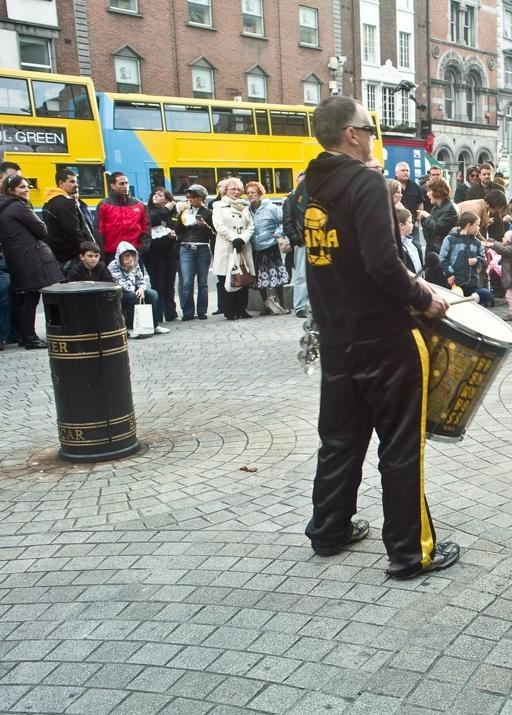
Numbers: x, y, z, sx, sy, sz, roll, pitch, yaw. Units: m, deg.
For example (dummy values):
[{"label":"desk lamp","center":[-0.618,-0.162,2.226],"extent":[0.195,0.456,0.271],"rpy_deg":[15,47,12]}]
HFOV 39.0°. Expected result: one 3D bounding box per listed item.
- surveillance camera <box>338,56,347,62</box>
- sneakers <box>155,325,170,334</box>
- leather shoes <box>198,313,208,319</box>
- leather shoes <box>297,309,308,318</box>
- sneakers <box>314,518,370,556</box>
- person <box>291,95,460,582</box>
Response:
[{"label":"surveillance camera","center":[4.400,-15.317,37.171],"extent":[0.559,0.397,0.119],"rpy_deg":[0,-2,-14]},{"label":"sneakers","center":[-1.403,-0.412,10.761],"extent":[0.242,0.086,0.089],"rpy_deg":[11,17,26]},{"label":"leather shoes","center":[-0.906,-0.700,12.156],"extent":[0.142,0.106,0.289],"rpy_deg":[-1,1,-7]},{"label":"leather shoes","center":[0.723,-0.674,11.202],"extent":[0.166,0.129,0.403],"rpy_deg":[-1,3,2]},{"label":"sneakers","center":[0.422,0.813,3.329],"extent":[0.113,0.109,0.337],"rpy_deg":[13,18,37]},{"label":"person","center":[0.478,0.047,2.944],"extent":[0.347,1.732,0.572],"rpy_deg":[-13,12,-35]}]
